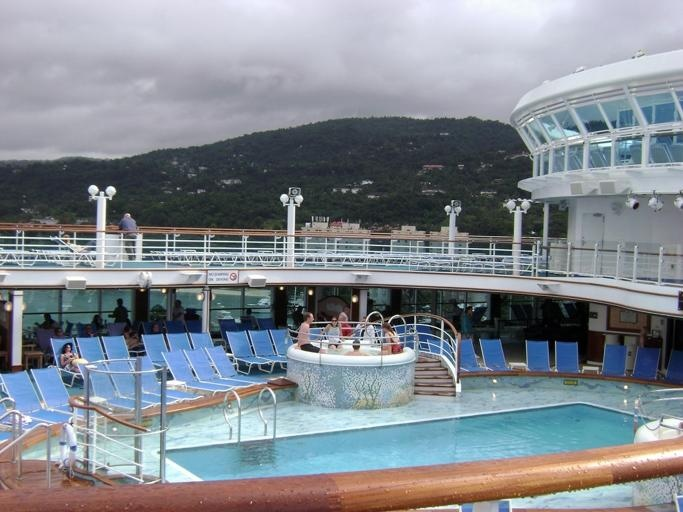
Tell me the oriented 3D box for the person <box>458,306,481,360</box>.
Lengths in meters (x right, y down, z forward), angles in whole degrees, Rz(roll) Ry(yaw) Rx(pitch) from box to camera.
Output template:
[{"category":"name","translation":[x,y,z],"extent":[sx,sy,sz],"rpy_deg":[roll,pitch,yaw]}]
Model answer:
[{"category":"person","translation":[4.047,2.464,23.095],"extent":[0.609,0.552,1.484],"rpy_deg":[-16,-28,6]}]

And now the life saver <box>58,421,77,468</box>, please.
[{"category":"life saver","translation":[-3.373,2.341,9.169],"extent":[0.187,0.661,0.436],"rpy_deg":[4,8,-19]}]

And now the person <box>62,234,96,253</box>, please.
[{"category":"person","translation":[-7.006,-0.301,19.704],"extent":[1.066,0.369,0.479],"rpy_deg":[-2,20,-15]}]

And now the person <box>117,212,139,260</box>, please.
[{"category":"person","translation":[-5.763,-0.487,20.012],"extent":[0.489,1.320,0.985],"rpy_deg":[4,8,-16]}]
